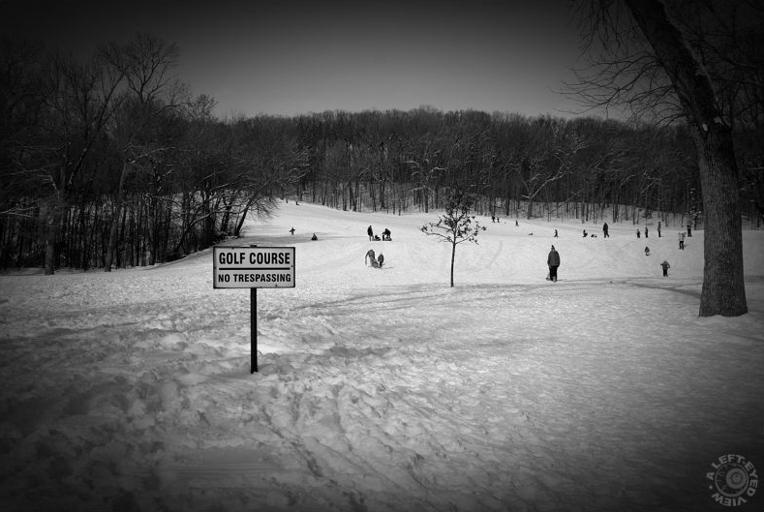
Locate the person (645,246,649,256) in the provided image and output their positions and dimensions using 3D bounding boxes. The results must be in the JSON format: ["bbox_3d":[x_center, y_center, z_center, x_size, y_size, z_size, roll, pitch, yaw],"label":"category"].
[{"bbox_3d":[20.231,-0.376,42.605,0.322,0.592,1.186,1,1,25],"label":"person"}]

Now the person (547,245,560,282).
[{"bbox_3d":[9.151,0.379,29.849,0.463,1.533,1.436,1,1,16],"label":"person"}]
